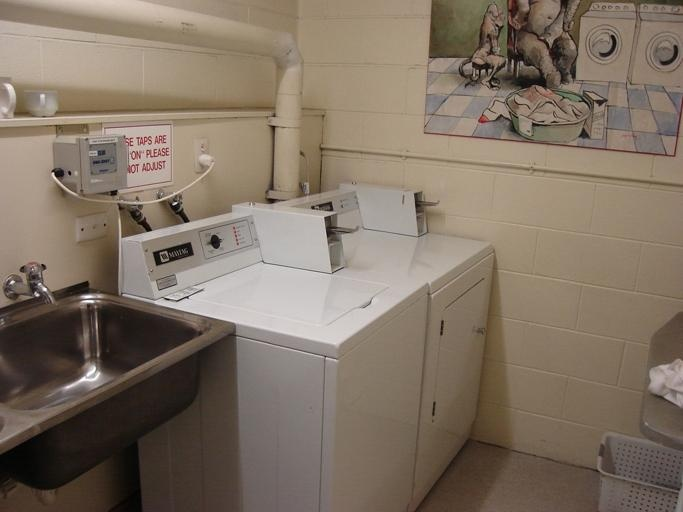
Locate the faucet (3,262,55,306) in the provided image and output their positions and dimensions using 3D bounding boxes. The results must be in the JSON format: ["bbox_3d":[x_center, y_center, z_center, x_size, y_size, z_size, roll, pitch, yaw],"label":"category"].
[{"bbox_3d":[-1.068,0.097,1.754,0.194,0.124,0.067,19,26,29],"label":"faucet"}]

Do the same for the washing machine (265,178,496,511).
[{"bbox_3d":[0.163,0.367,2.179,0.624,1.155,1.146,10,29,20],"label":"washing machine"}]

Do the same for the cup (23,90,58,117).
[{"bbox_3d":[-1.022,-0.522,1.765,0.078,0.077,0.104,-6,25,-25],"label":"cup"}]
